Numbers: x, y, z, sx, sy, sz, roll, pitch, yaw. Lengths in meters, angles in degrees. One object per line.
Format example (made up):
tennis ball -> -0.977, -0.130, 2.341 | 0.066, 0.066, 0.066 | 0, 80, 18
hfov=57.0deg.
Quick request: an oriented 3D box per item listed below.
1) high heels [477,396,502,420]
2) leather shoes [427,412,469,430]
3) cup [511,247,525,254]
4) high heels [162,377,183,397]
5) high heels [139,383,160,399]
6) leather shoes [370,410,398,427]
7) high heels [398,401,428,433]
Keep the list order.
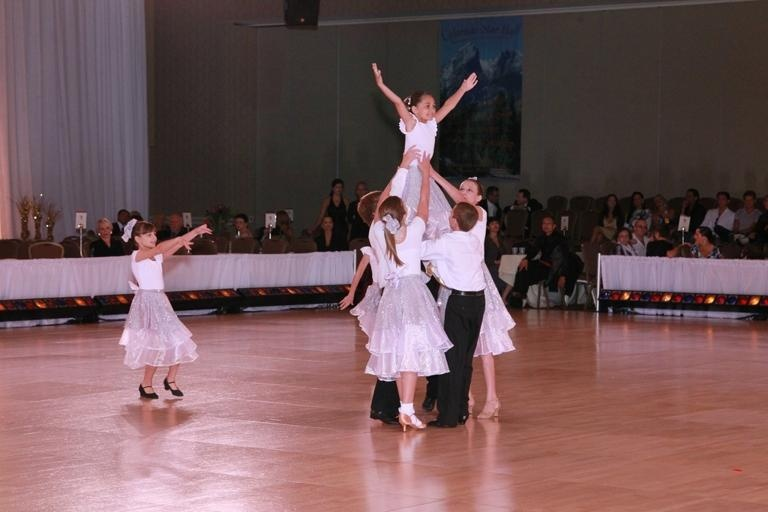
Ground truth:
high heels -> 0.794, 1.154, 5.320 | 0.235, 0.165, 0.085 | 2, -1, -31
leather shoes -> 0.443, 1.188, 5.102 | 0.316, 0.123, 0.111 | 3, 4, -4
cup -> 2.195, -0.087, 11.567 | 0.157, 0.108, 0.105 | 2, -6, 4
high heels -> -1.769, 1.115, 5.995 | 0.257, 0.113, 0.088 | 26, 11, 36
high heels -> -1.943, 1.135, 5.875 | 0.074, 0.087, 0.199 | 1, -4, -37
leather shoes -> 0.005, 1.179, 5.162 | 0.242, 0.114, 0.084 | -3, -2, 35
high heels -> 0.182, 1.135, 5.022 | 0.110, 0.199, 0.276 | 2, 8, 24
